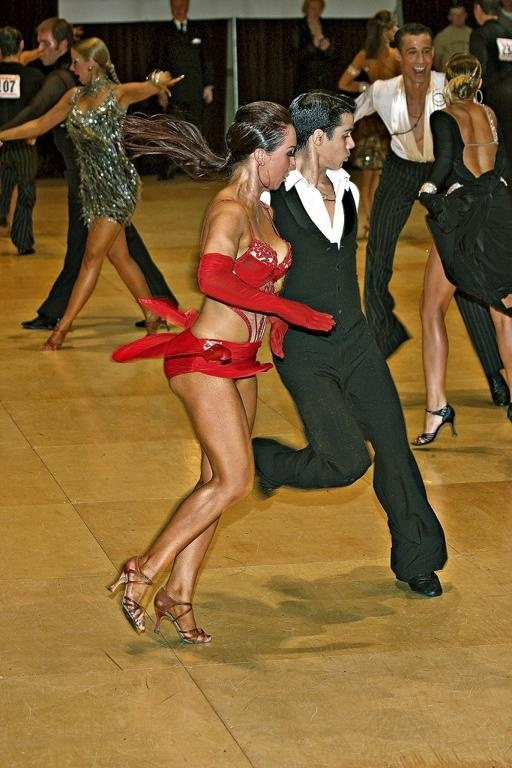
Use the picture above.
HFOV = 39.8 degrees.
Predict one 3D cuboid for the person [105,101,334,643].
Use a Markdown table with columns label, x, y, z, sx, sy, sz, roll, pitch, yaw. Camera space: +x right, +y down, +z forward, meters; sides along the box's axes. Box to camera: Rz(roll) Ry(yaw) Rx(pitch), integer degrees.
| label | x | y | z | sx | sy | sz | roll | pitch | yaw |
| --- | --- | --- | --- | --- | --- | --- | --- | --- | --- |
| person | -0.126 | -0.027 | 2.229 | 0.629 | 1.751 | 0.750 | 0 | 5 | -15 |

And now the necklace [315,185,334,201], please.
| label | x | y | z | sx | sy | sz | roll | pitch | yaw |
| --- | --- | --- | --- | --- | --- | --- | --- | --- | --- |
| necklace | 0.233 | -0.660 | 2.443 | 0.059 | 0.020 | 0.044 | 36 | 36 | 19 |

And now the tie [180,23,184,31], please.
| label | x | y | z | sx | sy | sz | roll | pitch | yaw |
| --- | --- | --- | --- | --- | --- | --- | --- | --- | --- |
| tie | -1.550 | -7.441 | 14.768 | 0.084 | 0.115 | 0.046 | -2 | 13 | 2 |

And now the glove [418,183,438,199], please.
| label | x | y | z | sx | sy | sz | roll | pitch | yaw |
| --- | --- | --- | --- | --- | --- | --- | --- | --- | --- |
| glove | 1.020 | -1.150 | 4.213 | 0.087 | 0.093 | 0.049 | 4 | -15 | 14 |

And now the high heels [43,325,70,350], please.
| label | x | y | z | sx | sy | sz | roll | pitch | yaw |
| --- | --- | --- | --- | --- | --- | --- | --- | --- | --- |
| high heels | -1.930 | -0.416 | 6.812 | 0.142 | 0.134 | 0.342 | 26 | 53 | 0 |

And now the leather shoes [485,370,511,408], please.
| label | x | y | z | sx | sy | sz | roll | pitch | yaw |
| --- | --- | --- | --- | --- | --- | --- | --- | --- | --- |
| leather shoes | 1.870 | 0.054 | 5.534 | 0.123 | 0.313 | 0.153 | -22 | -16 | 36 |

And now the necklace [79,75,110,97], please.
| label | x | y | z | sx | sy | sz | roll | pitch | yaw |
| --- | --- | --- | --- | --- | --- | --- | --- | --- | --- |
| necklace | -1.460 | -2.693 | 6.422 | 0.283 | 0.130 | 0.251 | -3 | -26 | -18 |
